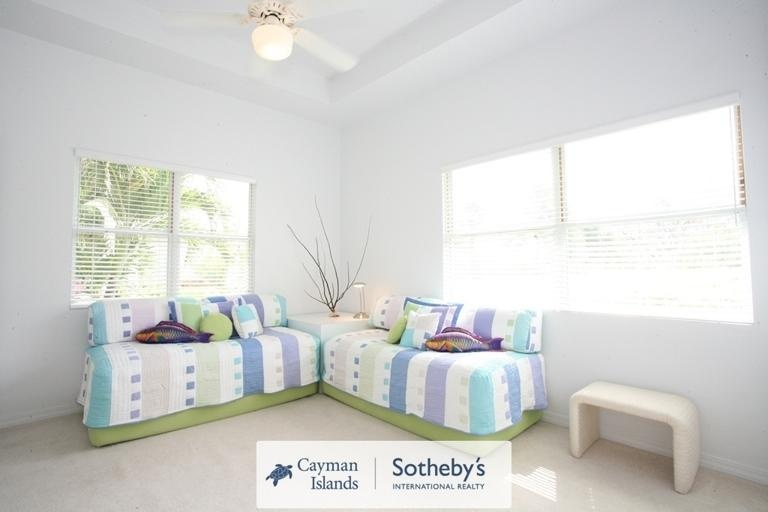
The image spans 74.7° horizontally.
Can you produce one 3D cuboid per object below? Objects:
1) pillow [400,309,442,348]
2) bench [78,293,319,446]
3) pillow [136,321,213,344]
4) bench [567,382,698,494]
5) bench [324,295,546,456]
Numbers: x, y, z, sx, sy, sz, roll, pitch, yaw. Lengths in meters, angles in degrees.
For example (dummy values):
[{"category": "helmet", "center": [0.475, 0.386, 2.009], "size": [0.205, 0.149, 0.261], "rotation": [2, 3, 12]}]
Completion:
[{"category": "pillow", "center": [0.358, 0.730, 4.972], "size": [0.346, 0.343, 0.176], "rotation": [-6, -29, 36]}, {"category": "bench", "center": [-1.853, 1.054, 5.217], "size": [2.299, 1.159, 1.098], "rotation": [0, 0, -40]}, {"category": "pillow", "center": [-2.085, 0.755, 4.953], "size": [0.443, 0.087, 0.177], "rotation": [5, 39, -15]}, {"category": "bench", "center": [2.070, 1.307, 4.138], "size": [1.139, 0.772, 0.675], "rotation": [4, 7, 41]}, {"category": "bench", "center": [0.711, 1.131, 4.808], "size": [1.169, 1.036, 2.091], "rotation": [15, -15, -43]}]
